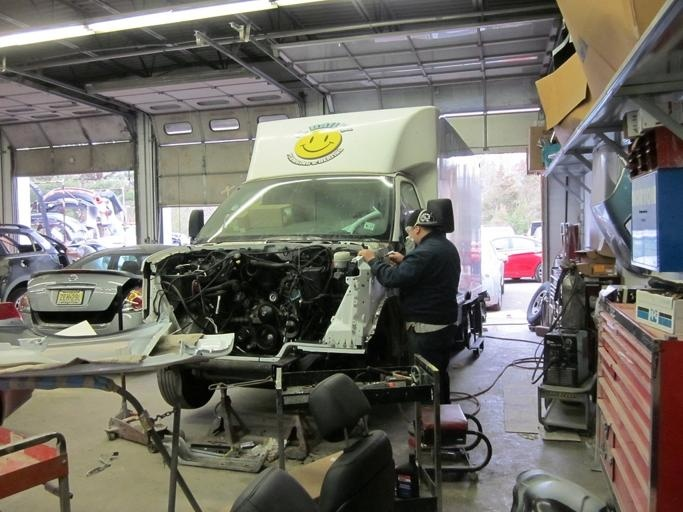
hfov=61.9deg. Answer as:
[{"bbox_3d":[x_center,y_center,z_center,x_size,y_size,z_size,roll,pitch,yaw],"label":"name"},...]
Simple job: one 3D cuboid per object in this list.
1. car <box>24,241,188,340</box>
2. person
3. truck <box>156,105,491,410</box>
[{"bbox_3d":[-3.160,0.361,8.156,2.054,1.045,3.151,-1,7,-7],"label":"car"},{"bbox_3d":[0.730,0.470,5.511,0.701,2.097,1.156,1,2,18],"label":"person"},{"bbox_3d":[0.312,-0.355,7.476,3.028,2.850,5.355,0,10,24],"label":"truck"}]
